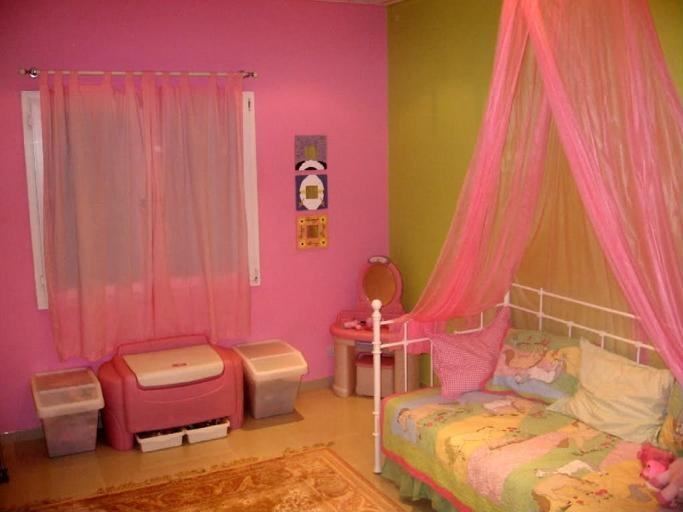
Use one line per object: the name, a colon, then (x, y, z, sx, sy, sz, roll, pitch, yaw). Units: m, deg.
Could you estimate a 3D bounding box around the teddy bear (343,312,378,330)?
teddy bear: (0.188, 0.612, 5.546, 0.218, 0.121, 0.279, 0, 6, -13)
